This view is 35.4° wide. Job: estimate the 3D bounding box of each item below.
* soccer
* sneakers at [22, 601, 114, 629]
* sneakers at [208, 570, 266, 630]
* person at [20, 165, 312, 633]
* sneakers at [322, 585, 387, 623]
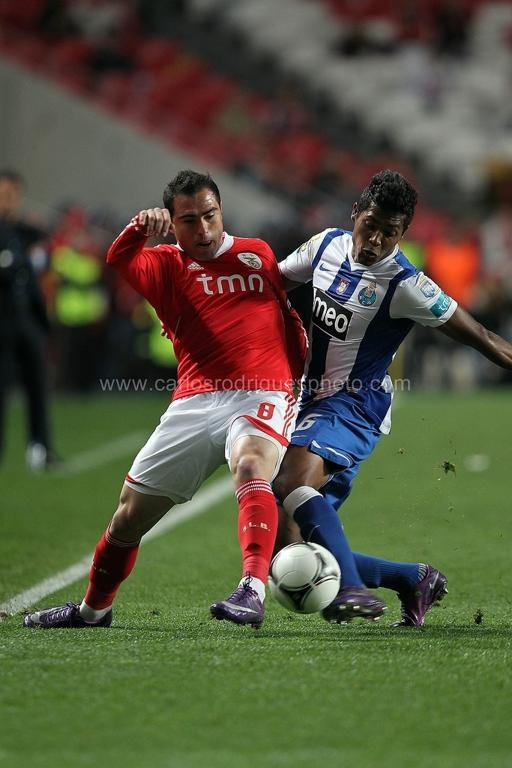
[{"bbox_3d":[0.163,0.613,2.600,0.227,0.210,0.221,24,-12,27],"label":"soccer"},{"bbox_3d":[-0.675,0.830,2.872,0.312,0.097,0.102,6,-15,-4],"label":"sneakers"},{"bbox_3d":[-0.040,0.671,2.463,0.089,0.130,0.253,16,-13,28],"label":"sneakers"},{"bbox_3d":[-0.226,0.041,2.876,0.825,1.603,0.958,2,10,23],"label":"person"},{"bbox_3d":[0.306,0.689,2.511,0.239,0.074,0.105,0,20,4],"label":"sneakers"}]
